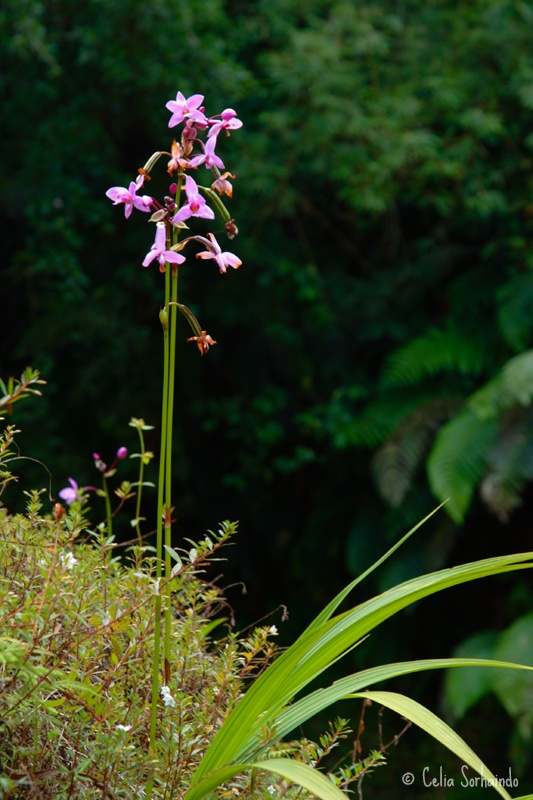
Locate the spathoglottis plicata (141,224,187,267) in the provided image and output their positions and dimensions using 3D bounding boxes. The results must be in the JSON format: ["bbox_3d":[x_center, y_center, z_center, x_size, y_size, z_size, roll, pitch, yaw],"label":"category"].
[{"bbox_3d":[-0.142,-0.220,1.438,0.069,0.064,0.076,0,20,-25],"label":"spathoglottis plicata"}]

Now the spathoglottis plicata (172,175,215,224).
[{"bbox_3d":[-0.105,-0.285,1.449,0.075,0.068,0.034,-12,-7,14],"label":"spathoglottis plicata"}]

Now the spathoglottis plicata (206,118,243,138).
[{"bbox_3d":[-0.062,-0.409,1.472,0.071,0.026,0.064,-4,8,0],"label":"spathoglottis plicata"}]
